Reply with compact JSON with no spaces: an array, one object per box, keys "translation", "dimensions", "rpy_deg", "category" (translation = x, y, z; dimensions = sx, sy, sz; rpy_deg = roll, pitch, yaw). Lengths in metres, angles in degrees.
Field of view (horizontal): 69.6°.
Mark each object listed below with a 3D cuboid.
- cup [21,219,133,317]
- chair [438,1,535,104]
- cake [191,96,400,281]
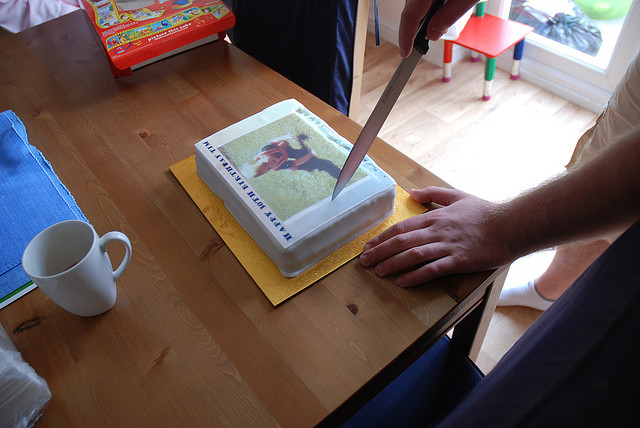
[{"translation":[-0.469,0.114,0.963],"dimensions":[0.205,0.154,0.132],"rpy_deg":[-26,46,-21],"category":"cup"},{"translation":[0.923,-0.864,2.482],"dimensions":[0.381,0.548,0.474],"rpy_deg":[31,59,29],"category":"chair"},{"translation":[-0.064,-0.081,1.050],"dimensions":[0.376,0.101,0.410],"rpy_deg":[-28,58,-23],"category":"cake"}]
